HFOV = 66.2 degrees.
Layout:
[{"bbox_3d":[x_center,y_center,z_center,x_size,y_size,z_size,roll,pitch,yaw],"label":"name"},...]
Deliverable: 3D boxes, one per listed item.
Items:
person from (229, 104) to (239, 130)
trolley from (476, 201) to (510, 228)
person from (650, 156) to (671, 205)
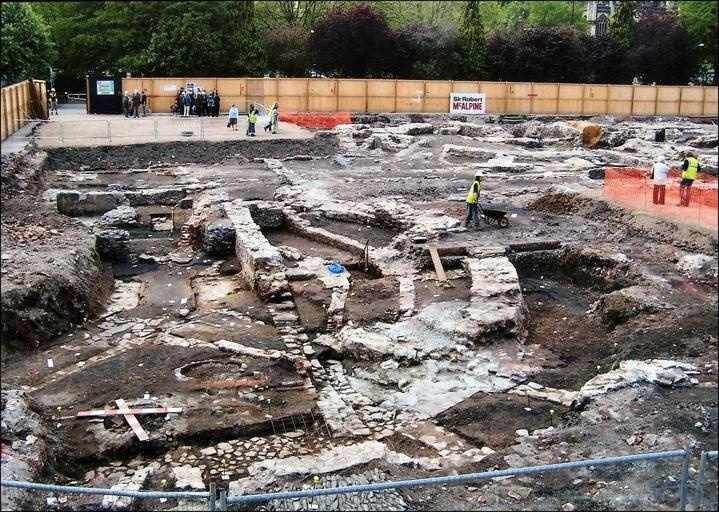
[{"bbox_3d":[-6.980,-7.514,29.923,0.536,1.352,1.274,-9,15,-12],"label":"person"},{"bbox_3d":[4.126,-1.262,16.882,1.571,0.706,0.733,3,12,2],"label":"trolley"},{"bbox_3d":[8.819,-2.226,16.185,0.416,1.375,0.815,2,17,25],"label":"person"}]
